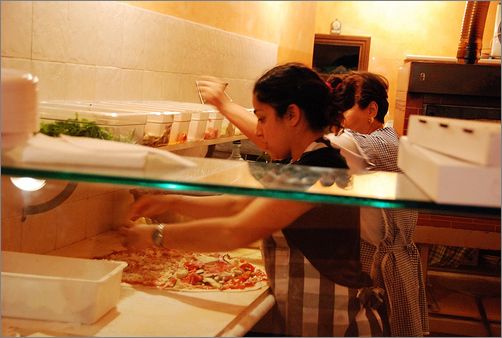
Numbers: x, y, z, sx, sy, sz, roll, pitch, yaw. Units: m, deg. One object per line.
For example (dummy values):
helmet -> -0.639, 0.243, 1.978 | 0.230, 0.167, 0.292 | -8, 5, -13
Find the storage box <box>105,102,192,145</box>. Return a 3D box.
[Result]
storage box -> -0.483, -0.242, 1.733 | 0.346, 0.106, 0.231 | 8, 11, 33

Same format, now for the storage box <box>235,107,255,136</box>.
storage box -> -0.018, -0.357, 2.615 | 0.224, 0.193, 0.053 | 7, -9, -33

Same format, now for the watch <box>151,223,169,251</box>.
watch -> -0.201, 0.147, 0.806 | 0.033, 0.048, 0.046 | 1, 2, 2
